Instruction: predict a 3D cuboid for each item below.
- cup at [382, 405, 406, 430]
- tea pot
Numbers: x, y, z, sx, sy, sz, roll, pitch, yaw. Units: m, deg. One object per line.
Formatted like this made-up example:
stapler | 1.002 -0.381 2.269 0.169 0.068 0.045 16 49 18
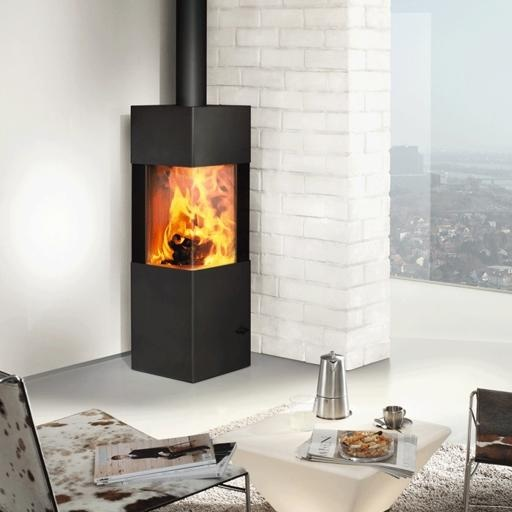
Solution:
cup | 0.474 0.546 1.847 0.066 0.064 0.084 -1 -1 19
tea pot | 0.282 0.486 2.040 0.174 0.227 0.159 0 -4 0
